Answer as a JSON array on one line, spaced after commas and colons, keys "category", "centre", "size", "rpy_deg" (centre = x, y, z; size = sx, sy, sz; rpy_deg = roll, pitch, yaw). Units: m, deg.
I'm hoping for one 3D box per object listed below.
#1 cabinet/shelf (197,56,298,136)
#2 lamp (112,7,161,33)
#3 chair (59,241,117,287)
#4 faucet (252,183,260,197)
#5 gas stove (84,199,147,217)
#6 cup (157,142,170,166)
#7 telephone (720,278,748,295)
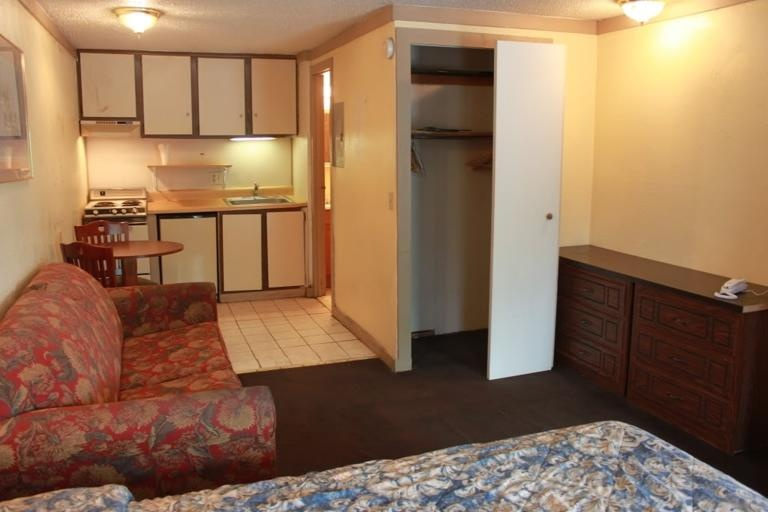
[{"category": "cabinet/shelf", "centre": [-1.637, -1.892, 6.404], "size": [0.952, 0.749, 0.332], "rpy_deg": [-1, 12, -11]}, {"category": "lamp", "centre": [-2.047, -1.968, 4.601], "size": [0.371, 0.146, 0.349], "rpy_deg": [-8, 14, -23]}, {"category": "chair", "centre": [-2.224, 0.065, 4.148], "size": [0.281, 0.457, 0.283], "rpy_deg": [4, 23, -1]}, {"category": "faucet", "centre": [-1.620, -0.841, 6.991], "size": [0.065, 0.166, 0.090], "rpy_deg": [2, 14, 19]}, {"category": "gas stove", "centre": [-2.942, -0.516, 6.068], "size": [0.605, 0.159, 0.481], "rpy_deg": [-7, 14, -20]}, {"category": "cup", "centre": [-2.615, -1.209, 6.567], "size": [0.130, 0.264, 0.117], "rpy_deg": [-8, 14, -21]}, {"category": "telephone", "centre": [2.312, 0.194, 3.668], "size": [0.160, 0.056, 0.102], "rpy_deg": [-12, 17, -34]}]
